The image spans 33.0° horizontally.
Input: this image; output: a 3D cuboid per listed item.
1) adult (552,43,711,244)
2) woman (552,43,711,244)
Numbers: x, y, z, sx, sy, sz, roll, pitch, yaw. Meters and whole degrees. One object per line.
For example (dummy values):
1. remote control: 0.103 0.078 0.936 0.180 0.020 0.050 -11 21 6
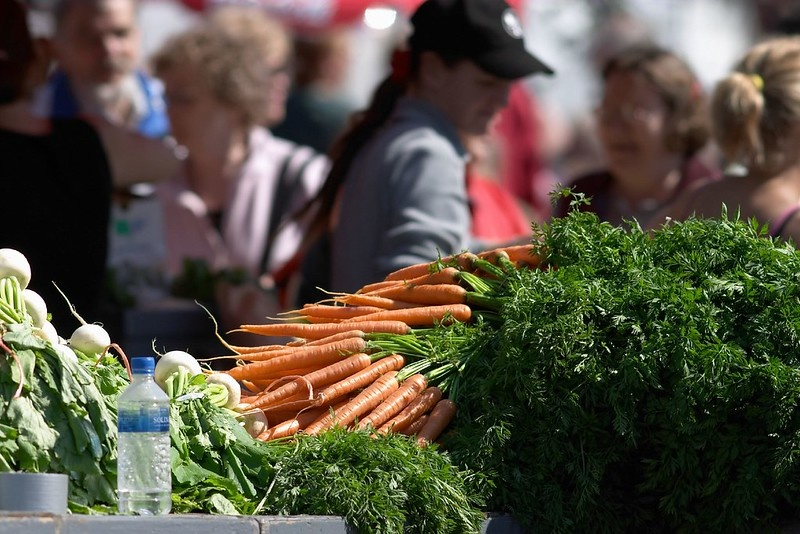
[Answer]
1. adult: 2.009 -1.064 11.849 1.027 1.759 1.635 17 -7 -42
2. woman: 2.009 -1.064 11.849 1.027 1.759 1.635 17 -7 -42
